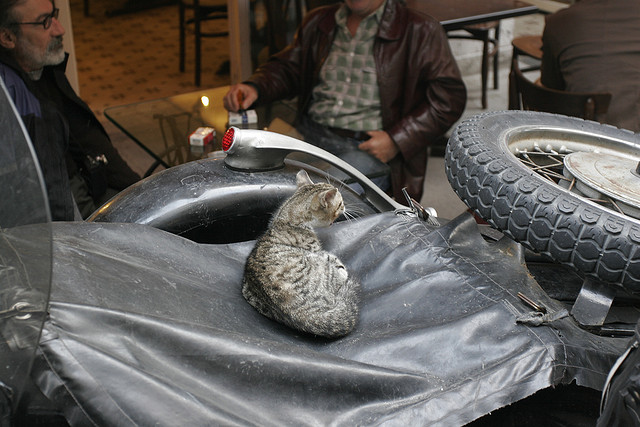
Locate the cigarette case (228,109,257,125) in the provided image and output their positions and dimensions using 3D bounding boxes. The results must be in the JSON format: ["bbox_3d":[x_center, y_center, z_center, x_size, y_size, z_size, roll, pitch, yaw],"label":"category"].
[{"bbox_3d":[-0.462,-0.581,3.510,0.113,0.043,0.093,-7,33,-9],"label":"cigarette case"}]

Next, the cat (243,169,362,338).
[{"bbox_3d":[-0.068,0.161,2.043,0.379,0.332,0.698,-2,28,-5],"label":"cat"}]
